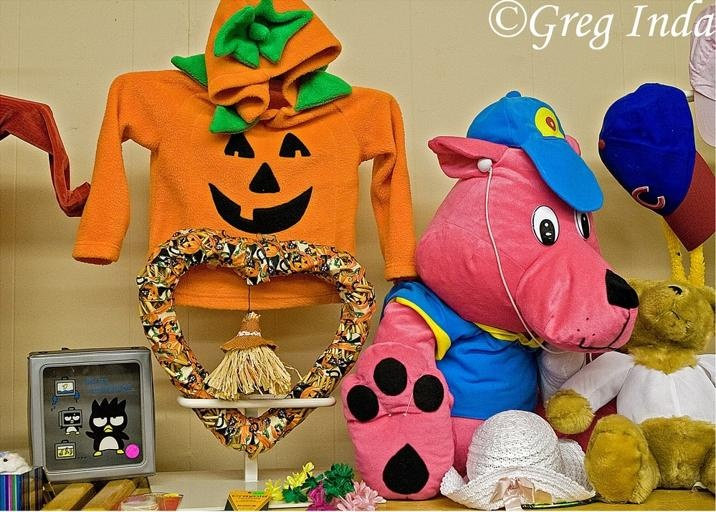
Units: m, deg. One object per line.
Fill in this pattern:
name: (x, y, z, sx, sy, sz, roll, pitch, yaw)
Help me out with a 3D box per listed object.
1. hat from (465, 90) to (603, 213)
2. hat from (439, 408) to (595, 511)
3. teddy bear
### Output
hat: (0.434, -0.240, 2.194, 0.347, 0.182, 0.213, 28, 10, 32)
hat: (0.334, 0.447, 1.961, 0.272, 0.101, 0.223, -4, -24, -6)
teddy bear: (0.282, 0.077, 2.098, 0.644, 0.909, 0.287, -1, 6, 0)
